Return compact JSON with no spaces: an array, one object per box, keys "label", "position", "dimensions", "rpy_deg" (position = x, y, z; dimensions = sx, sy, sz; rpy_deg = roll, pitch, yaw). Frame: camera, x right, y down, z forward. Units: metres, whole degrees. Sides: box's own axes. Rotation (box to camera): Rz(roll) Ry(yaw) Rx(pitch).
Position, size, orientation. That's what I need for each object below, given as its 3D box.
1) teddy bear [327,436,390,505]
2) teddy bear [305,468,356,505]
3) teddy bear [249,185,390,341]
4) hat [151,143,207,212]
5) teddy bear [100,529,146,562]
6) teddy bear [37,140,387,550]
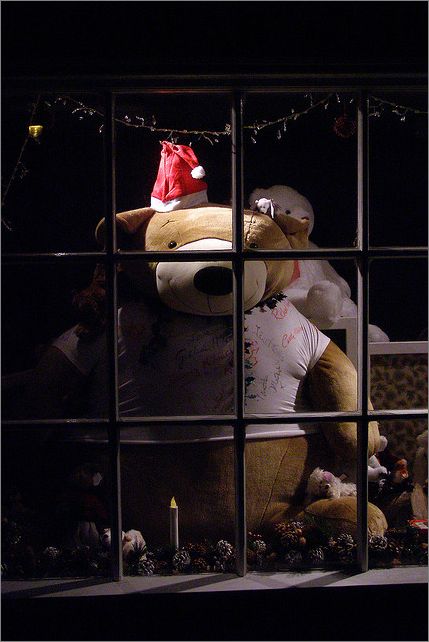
[{"label":"teddy bear","position":[0.351,0.368,2.278],"dimensions":[0.130,0.193,0.129],"rpy_deg":[1,13,-11]},{"label":"teddy bear","position":[0.282,0.408,2.218],"dimensions":[0.084,0.077,0.043],"rpy_deg":[4,27,28]},{"label":"teddy bear","position":[0.218,-0.174,2.332],"dimensions":[0.289,0.438,0.331],"rpy_deg":[11,-27,-20]},{"label":"hat","position":[-0.089,-0.374,2.258],"dimensions":[0.145,0.176,0.132],"rpy_deg":[-5,5,-40]},{"label":"teddy bear","position":[-0.213,0.515,2.059],"dimensions":[0.075,0.059,0.108],"rpy_deg":[1,7,-12]},{"label":"teddy bear","position":[-0.005,0.083,2.342],"dimensions":[0.741,1.154,0.672],"rpy_deg":[-2,-6,-5]}]
